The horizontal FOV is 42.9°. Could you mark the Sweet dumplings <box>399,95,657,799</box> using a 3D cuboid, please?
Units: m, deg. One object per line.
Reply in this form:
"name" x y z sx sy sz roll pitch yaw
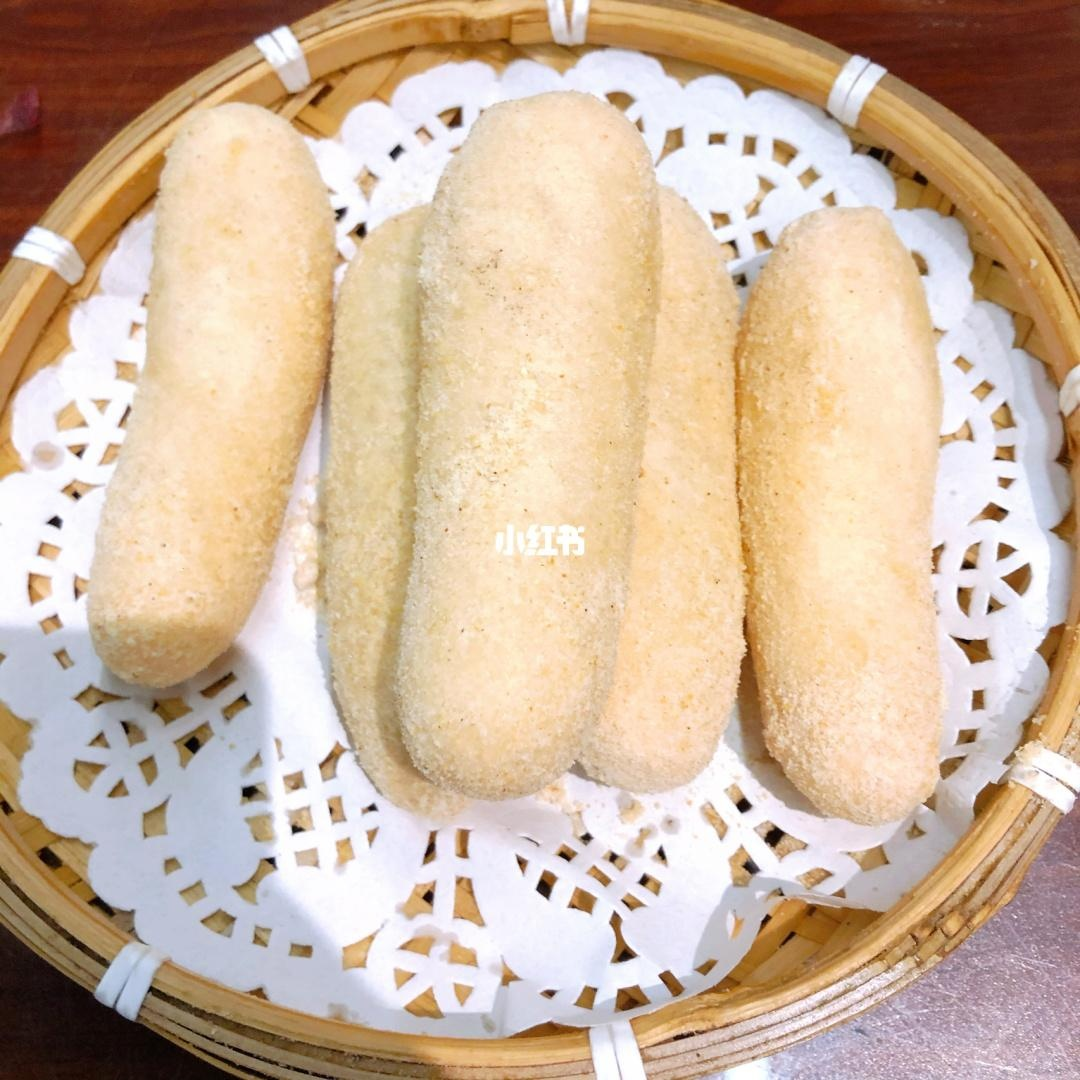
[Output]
"Sweet dumplings" 0.019 0.023 1.043 0.175 0.412 0.120 11 46 8
